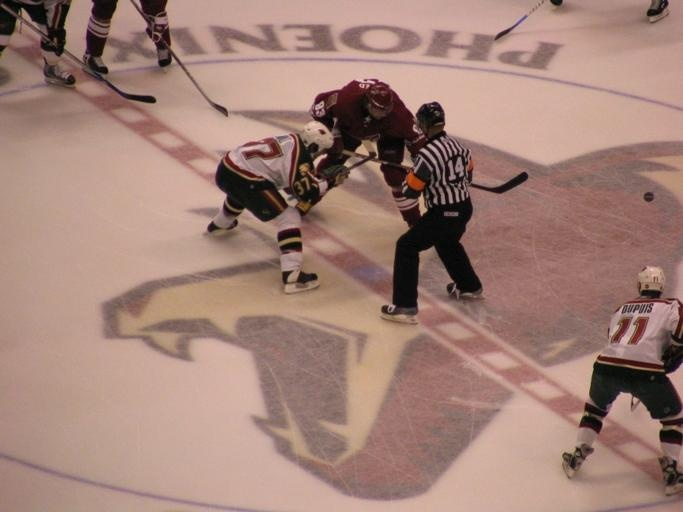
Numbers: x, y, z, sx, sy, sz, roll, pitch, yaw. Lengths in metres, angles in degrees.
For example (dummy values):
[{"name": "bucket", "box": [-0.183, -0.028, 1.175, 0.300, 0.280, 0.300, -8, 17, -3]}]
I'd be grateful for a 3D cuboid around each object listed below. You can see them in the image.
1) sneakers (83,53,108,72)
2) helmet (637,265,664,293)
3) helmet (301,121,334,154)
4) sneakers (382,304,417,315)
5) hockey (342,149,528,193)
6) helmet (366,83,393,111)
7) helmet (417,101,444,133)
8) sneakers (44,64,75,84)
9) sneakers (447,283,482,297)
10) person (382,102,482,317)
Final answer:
[{"name": "sneakers", "box": [-2.177, -1.713, 7.388, 0.251, 0.088, 0.116, 33, 45, 10]}, {"name": "helmet", "box": [1.793, 0.130, 4.878, 0.169, 0.126, 0.172, 5, 14, 8]}, {"name": "helmet", "box": [-0.183, -0.810, 5.678, 0.215, 0.219, 0.203, -1, 29, -7]}, {"name": "sneakers", "box": [0.373, 0.357, 5.573, 0.239, 0.069, 0.075, 5, 22, 9]}, {"name": "hockey", "box": [0.627, -0.611, 6.055, 1.671, 0.149, 0.151, 12, 68, 13]}, {"name": "helmet", "box": [0.267, -1.096, 5.771, 0.173, 0.125, 0.194, -27, 65, -19]}, {"name": "helmet", "box": [0.608, -0.912, 5.410, 0.206, 0.180, 0.209, -8, 32, -14]}, {"name": "sneakers", "box": [-2.461, -1.596, 7.220, 0.334, 0.164, 0.118, 3, 43, -7]}, {"name": "sneakers", "box": [0.845, 0.237, 5.821, 0.249, 0.076, 0.082, 6, 38, 9]}, {"name": "person", "box": [0.682, -0.260, 5.440, 0.651, 1.433, 0.662, 8, 32, 7]}]
